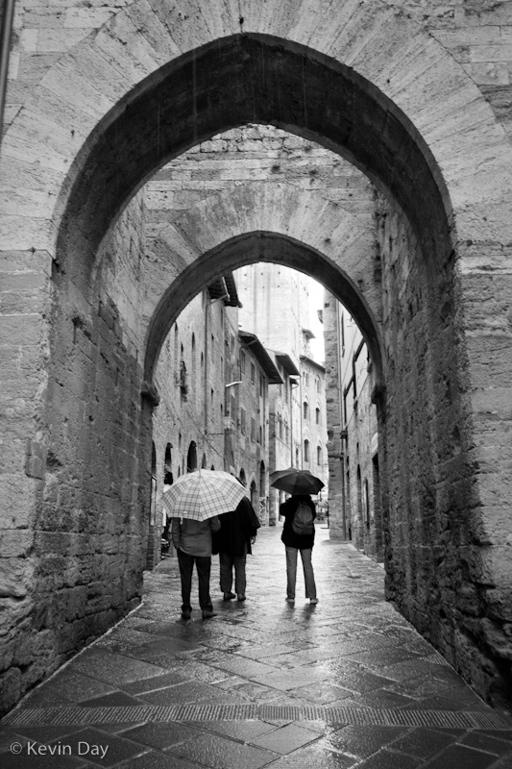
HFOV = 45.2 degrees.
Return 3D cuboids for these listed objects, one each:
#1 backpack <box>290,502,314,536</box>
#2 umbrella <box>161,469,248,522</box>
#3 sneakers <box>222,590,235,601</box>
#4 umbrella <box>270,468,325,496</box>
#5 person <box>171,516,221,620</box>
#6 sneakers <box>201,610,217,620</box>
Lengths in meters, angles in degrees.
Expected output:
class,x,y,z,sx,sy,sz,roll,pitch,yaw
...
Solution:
class,x,y,z,sx,sy,sz,roll,pitch,yaw
backpack,0.459,1.326,6.035,0.212,0.334,0.088,-2,-10,4
umbrella,-0.473,0.943,5.390,0.656,0.332,0.698,-14,14,-27
sneakers,-0.287,2.138,6.237,0.048,0.082,0.166,0,-3,12
umbrella,0.364,0.942,6.138,0.315,0.134,0.341,2,10,-26
person,-0.528,1.607,5.323,0.351,0.393,1.200,0,34,-6
sneakers,-0.395,1.900,5.070,0.118,0.059,0.165,-1,-12,-2
